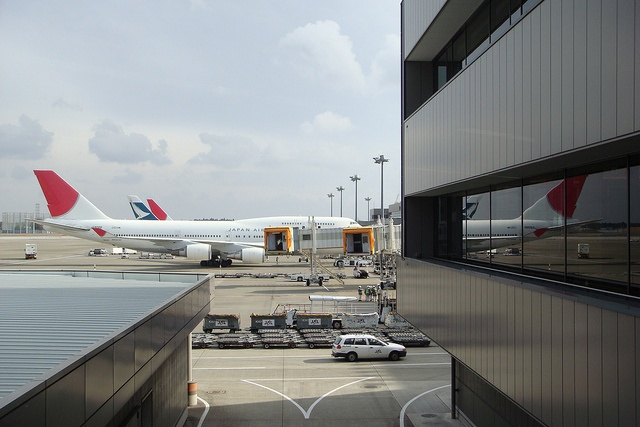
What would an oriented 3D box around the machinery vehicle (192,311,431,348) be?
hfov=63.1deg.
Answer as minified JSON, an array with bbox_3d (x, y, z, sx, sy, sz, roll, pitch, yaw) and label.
[{"bbox_3d":[-0.516,8.027,36.422,16.233,1.542,5.200,1,2,-1],"label":"machinery vehicle"}]

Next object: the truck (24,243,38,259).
[{"bbox_3d":[-49.166,6.451,88.625,1.847,2.042,3.274,0,1,-18],"label":"truck"}]

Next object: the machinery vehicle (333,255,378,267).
[{"bbox_3d":[5.811,7.434,83.331,5.467,1.859,3.844,-3,-1,20],"label":"machinery vehicle"}]

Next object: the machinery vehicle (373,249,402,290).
[{"bbox_3d":[7.010,5.674,52.554,3.459,4.078,8.026,0,-4,-1],"label":"machinery vehicle"}]

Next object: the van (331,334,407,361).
[{"bbox_3d":[2.981,8.135,31.824,5.610,1.311,2.306,-1,-6,-6],"label":"van"}]
